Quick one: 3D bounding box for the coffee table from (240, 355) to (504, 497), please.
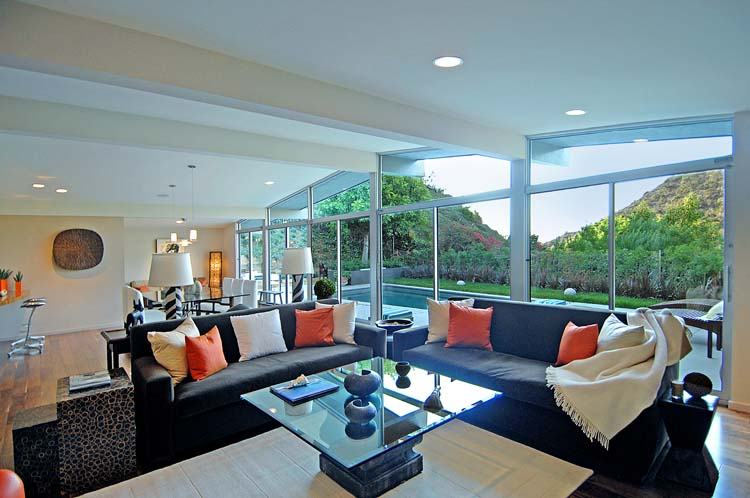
[{"bbox_3d":[0.019,1.421,3.782,1.244,0.482,1.406,-6,10,-43],"label":"coffee table"}]

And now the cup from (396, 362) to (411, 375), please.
[{"bbox_3d":[0.283,1.145,4.413,0.116,0.077,0.111,-2,2,0],"label":"cup"}]

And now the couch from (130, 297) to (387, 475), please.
[{"bbox_3d":[-1.214,1.299,5.115,2.635,1.030,1.068,-3,5,-38],"label":"couch"}]

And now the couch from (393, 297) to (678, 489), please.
[{"bbox_3d":[1.585,1.151,4.704,0.907,0.898,1.962,-23,6,-22],"label":"couch"}]

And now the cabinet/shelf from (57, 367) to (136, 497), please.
[{"bbox_3d":[-2.425,1.627,4.330,0.874,1.137,0.820,-1,1,-23],"label":"cabinet/shelf"}]

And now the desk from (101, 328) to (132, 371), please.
[{"bbox_3d":[-3.134,1.284,5.537,0.286,0.293,0.237,-5,-22,44],"label":"desk"}]

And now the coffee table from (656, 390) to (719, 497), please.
[{"bbox_3d":[2.678,1.610,3.902,0.453,0.713,0.573,3,8,34],"label":"coffee table"}]

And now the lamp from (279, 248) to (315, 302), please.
[{"bbox_3d":[-1.284,0.439,7.747,0.444,1.041,1.461,-2,6,-7],"label":"lamp"}]
